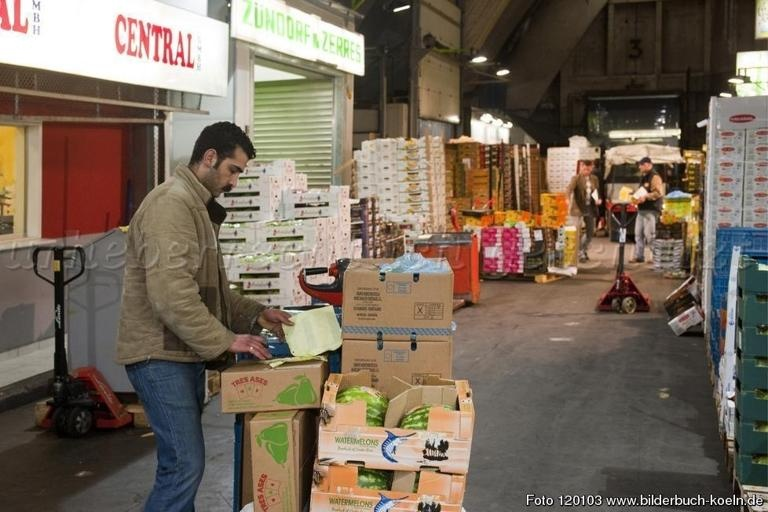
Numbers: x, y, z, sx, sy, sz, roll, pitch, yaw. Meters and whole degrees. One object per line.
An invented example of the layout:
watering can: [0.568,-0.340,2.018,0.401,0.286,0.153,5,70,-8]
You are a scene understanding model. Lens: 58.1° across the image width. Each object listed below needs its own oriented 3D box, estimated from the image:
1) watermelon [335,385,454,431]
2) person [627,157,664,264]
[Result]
watermelon: [0.089,1.017,4.796,0.835,0.266,0.446,1,9,8]
person: [6.970,-1.263,18.418,0.893,2.793,1.395,3,2,19]
